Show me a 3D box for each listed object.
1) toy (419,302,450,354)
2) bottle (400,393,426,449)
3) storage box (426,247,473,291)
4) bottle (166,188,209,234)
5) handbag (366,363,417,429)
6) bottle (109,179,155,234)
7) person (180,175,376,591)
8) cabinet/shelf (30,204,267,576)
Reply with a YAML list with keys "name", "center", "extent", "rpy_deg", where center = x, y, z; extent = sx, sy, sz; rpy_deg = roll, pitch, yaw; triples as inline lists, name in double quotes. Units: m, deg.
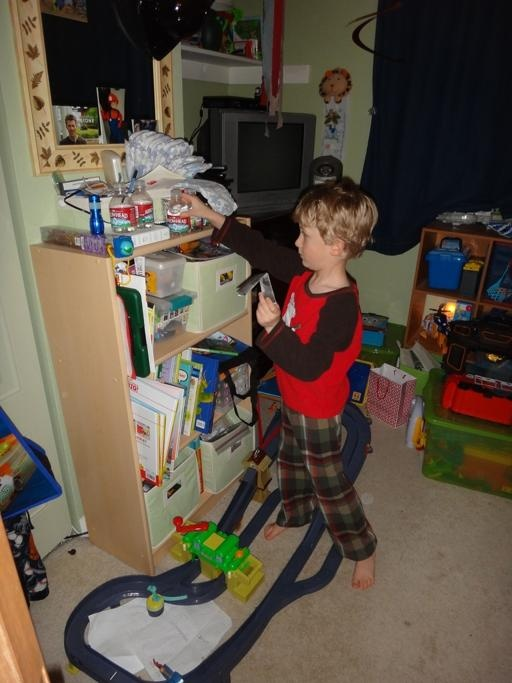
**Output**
- name: "toy"
  center: [1.125, -0.078, 2.946]
  extent: [0.090, 0.290, 0.224]
  rpy_deg: [10, 20, -8]
- name: "bottle"
  center: [0.791, 0.394, 2.316]
  extent: [0.081, 0.226, 0.196]
  rpy_deg: [7, 27, 12]
- name: "storage box"
  center: [1.086, -0.416, 2.707]
  extent: [0.256, 0.268, 0.222]
  rpy_deg: [8, 26, 23]
- name: "bottle"
  center: [-0.182, -0.383, 1.383]
  extent: [0.148, 0.148, 0.088]
  rpy_deg: [-1, 31, -3]
- name: "handbag"
  center: [0.714, 0.301, 2.473]
  extent: [0.221, 0.298, 0.105]
  rpy_deg: [28, 43, 35]
- name: "bottle"
  center: [-0.323, -0.352, 1.219]
  extent: [0.146, 0.140, 0.083]
  rpy_deg: [19, 36, 25]
- name: "person"
  center: [0.102, 0.177, 1.558]
  extent: [0.460, 1.288, 0.736]
  rpy_deg: [-18, 29, -33]
- name: "cabinet/shelf"
  center: [-0.478, 0.253, 1.452]
  extent: [0.363, 1.117, 0.108]
  rpy_deg: [14, 29, 24]
